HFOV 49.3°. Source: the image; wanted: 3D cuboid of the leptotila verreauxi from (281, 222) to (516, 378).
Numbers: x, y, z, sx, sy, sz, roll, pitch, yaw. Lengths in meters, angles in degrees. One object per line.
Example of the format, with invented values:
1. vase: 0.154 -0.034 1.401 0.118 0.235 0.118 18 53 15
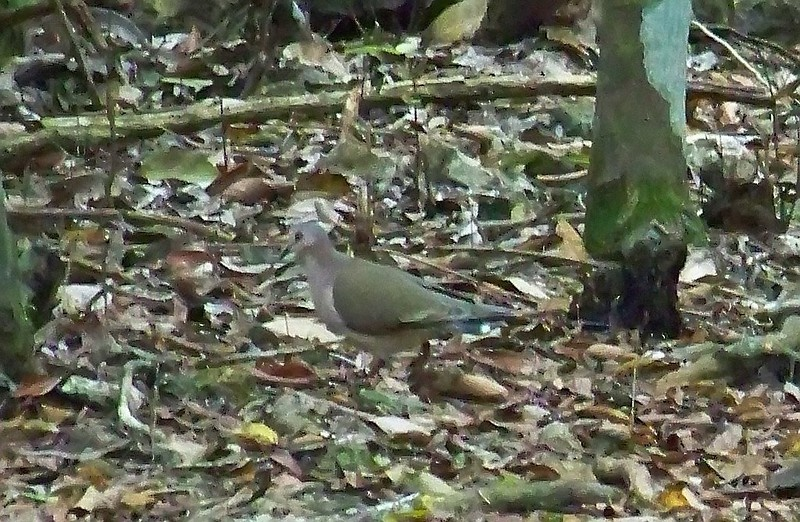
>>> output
1. leptotila verreauxi: -0.005 0.030 0.673 0.168 0.117 0.066 0 7 11
